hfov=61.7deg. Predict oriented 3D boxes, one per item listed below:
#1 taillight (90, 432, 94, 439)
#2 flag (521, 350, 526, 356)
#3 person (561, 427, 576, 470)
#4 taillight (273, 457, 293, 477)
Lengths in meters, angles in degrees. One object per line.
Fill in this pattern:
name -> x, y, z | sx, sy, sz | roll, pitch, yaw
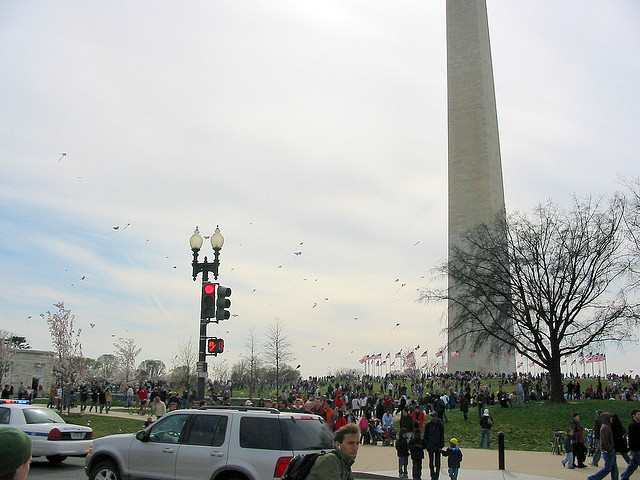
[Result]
taillight -> -6.720, 5.755, 15.676 | 0.046, 0.166, 0.340 | 6, -17, -12
flag -> 14.367, 7.953, 37.664 | 0.271, 0.558, 2.574 | -4, -18, 21
person -> 8.677, 7.255, 18.663 | 0.461, 1.317, 0.743 | -5, -18, 23
taillight -> -0.668, 3.937, 9.233 | 0.307, 0.329, 0.196 | 0, -17, 6
